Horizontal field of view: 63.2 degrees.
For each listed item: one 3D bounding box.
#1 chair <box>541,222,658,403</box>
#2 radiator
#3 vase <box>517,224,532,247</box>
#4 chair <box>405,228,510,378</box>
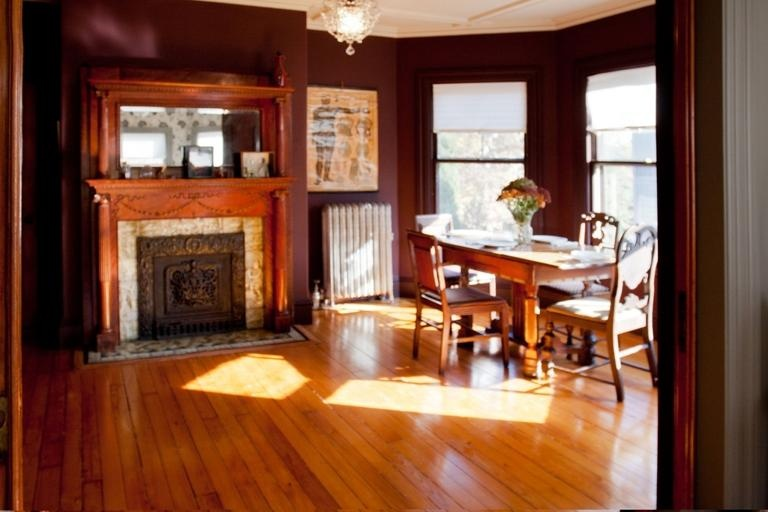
[{"bbox_3d":[1.729,0.380,4.899,0.572,1.300,0.699,-9,12,-43],"label":"chair"},{"bbox_3d":[-0.334,-0.047,7.312,1.187,1.549,0.429,-3,7,-18],"label":"radiator"},{"bbox_3d":[1.248,-0.175,5.544,0.173,0.255,0.188,-1,3,17],"label":"vase"},{"bbox_3d":[0.648,0.354,5.487,0.914,1.110,0.970,0,7,11],"label":"chair"}]
